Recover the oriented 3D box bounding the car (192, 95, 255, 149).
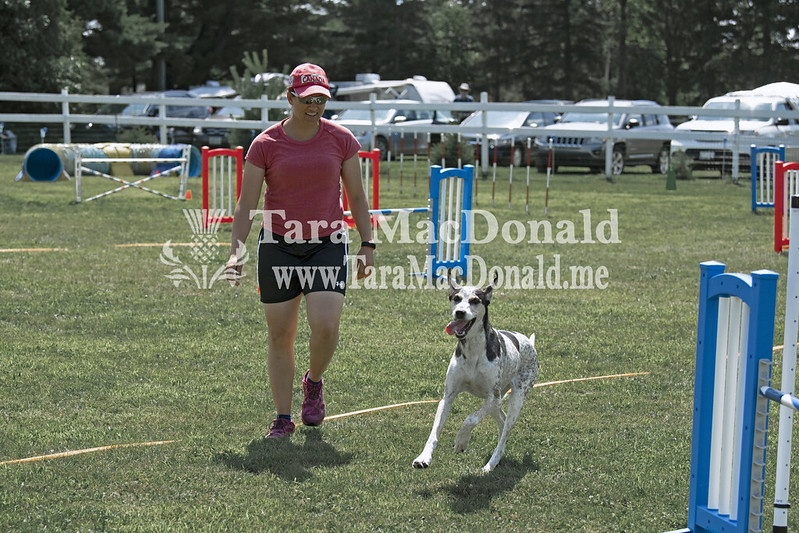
[{"bbox_3d":[-6.361,-5.090,51.701,1.962,1.777,3.512,0,1,-5],"label":"car"}]

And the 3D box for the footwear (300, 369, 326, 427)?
[{"bbox_3d":[-1.642,2.530,28.297,0.355,1.078,0.441,-1,-6,-5],"label":"footwear"}]

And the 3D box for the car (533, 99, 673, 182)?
[{"bbox_3d":[6.514,-3.706,46.208,4.272,2.010,2.407,-1,3,-43],"label":"car"}]

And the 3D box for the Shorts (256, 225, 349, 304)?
[{"bbox_3d":[-1.900,0.041,28.505,2.007,2.045,1.207,0,1,-5],"label":"Shorts"}]

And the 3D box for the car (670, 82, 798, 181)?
[{"bbox_3d":[11.008,-4.186,45.570,4.115,2.121,2.353,-5,5,-42],"label":"car"}]

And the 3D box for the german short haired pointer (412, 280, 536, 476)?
[{"bbox_3d":[1.537,2.030,27.972,2.227,3.590,0.974,-1,5,-6],"label":"german short haired pointer"}]

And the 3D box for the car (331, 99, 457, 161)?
[{"bbox_3d":[-0.363,-4.425,48.341,4.178,1.587,1.956,-2,6,-42],"label":"car"}]
